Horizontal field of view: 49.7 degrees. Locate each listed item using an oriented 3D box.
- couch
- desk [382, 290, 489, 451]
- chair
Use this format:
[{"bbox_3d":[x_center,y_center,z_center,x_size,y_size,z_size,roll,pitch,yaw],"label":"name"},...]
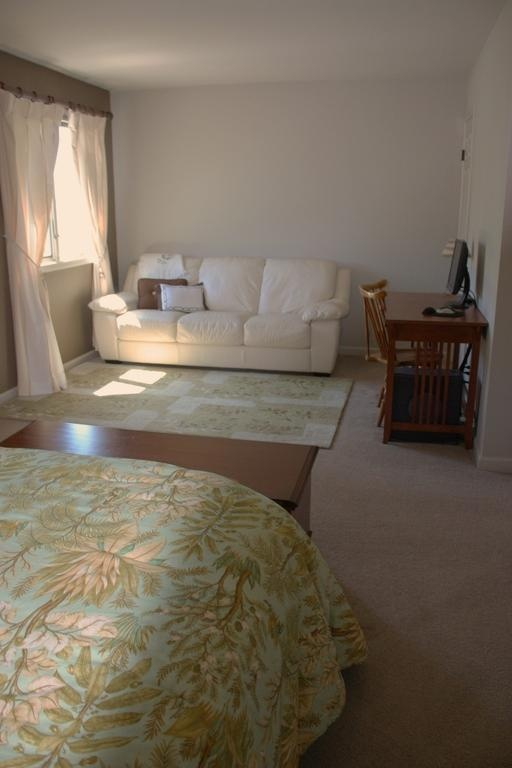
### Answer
[{"bbox_3d":[-0.292,-0.701,5.220,2.305,1.027,0.961,3,17,11],"label":"couch"},{"bbox_3d":[1.060,-0.057,3.283,0.353,0.465,0.880,2,23,12],"label":"desk"},{"bbox_3d":[0.977,-0.222,3.576,0.488,0.851,0.490,-3,5,25],"label":"chair"}]
